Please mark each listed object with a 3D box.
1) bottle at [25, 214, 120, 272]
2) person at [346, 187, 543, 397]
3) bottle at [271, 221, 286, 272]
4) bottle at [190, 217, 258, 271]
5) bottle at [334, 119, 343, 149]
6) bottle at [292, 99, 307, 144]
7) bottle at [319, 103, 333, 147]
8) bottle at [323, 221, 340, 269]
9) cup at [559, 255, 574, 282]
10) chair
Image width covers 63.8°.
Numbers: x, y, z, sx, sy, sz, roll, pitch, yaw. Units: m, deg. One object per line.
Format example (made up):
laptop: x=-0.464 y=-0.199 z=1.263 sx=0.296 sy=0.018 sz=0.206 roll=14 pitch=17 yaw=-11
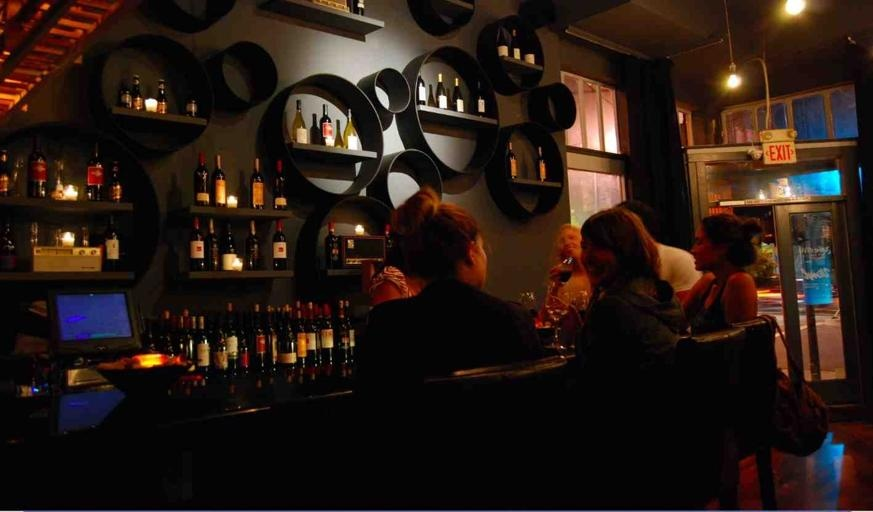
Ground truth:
bottle: x=-2.644 y=-0.047 z=5.105 sx=0.555 sy=0.354 sz=0.247 roll=-1 pitch=-3 yaw=-27
person: x=0.063 y=0.162 z=4.117 sx=1.153 sy=1.012 sz=0.661 roll=-4 pitch=-9 yaw=24
bottle: x=-1.307 y=-0.083 z=5.798 sx=0.124 sy=0.409 sz=0.250 roll=-1 pitch=-3 yaw=-11
bottle: x=-1.720 y=-0.077 z=5.560 sx=0.427 sy=0.382 sz=0.109 roll=2 pitch=-11 yaw=-41
bottle: x=-0.866 y=-1.073 z=6.149 sx=0.088 sy=0.242 sz=0.053 roll=-1 pitch=-4 yaw=-24
bottle: x=-1.159 y=-1.119 z=5.882 sx=0.130 sy=0.411 sz=0.264 roll=-1 pitch=-3 yaw=-11
bottle: x=-0.947 y=-1.109 z=6.006 sx=0.117 sy=0.413 sz=0.264 roll=-2 pitch=-3 yaw=-9
bottle: x=-0.889 y=-0.076 z=5.895 sx=0.108 sy=0.386 sz=0.120 roll=0 pitch=-4 yaw=-31
cup: x=1.005 y=0.111 z=5.434 sx=0.106 sy=0.252 sz=0.099 roll=16 pitch=-26 yaw=8
chair: x=0.362 y=0.944 z=3.971 sx=3.390 sy=1.026 sz=0.963 roll=-2 pitch=-2 yaw=-12
